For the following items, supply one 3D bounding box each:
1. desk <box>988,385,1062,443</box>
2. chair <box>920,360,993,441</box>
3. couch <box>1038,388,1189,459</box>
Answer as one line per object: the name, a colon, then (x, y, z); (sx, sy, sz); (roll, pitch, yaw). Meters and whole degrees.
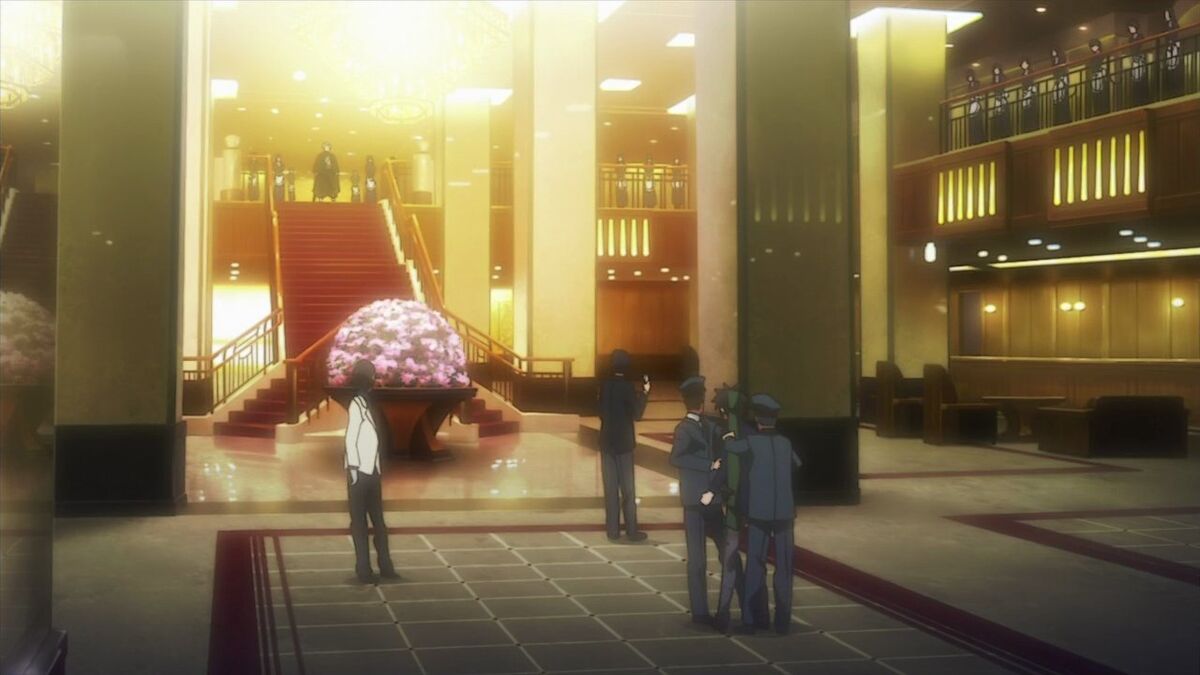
desk: (8.315, 1.626, 17.243); (1.261, 0.726, 1.566); (-3, -18, 27)
chair: (6.659, 1.335, 17.044); (1.492, 1.681, 1.270); (0, -3, -8)
couch: (8.758, 1.539, 15.060); (3.313, 1.333, 1.432); (0, -1, 18)
